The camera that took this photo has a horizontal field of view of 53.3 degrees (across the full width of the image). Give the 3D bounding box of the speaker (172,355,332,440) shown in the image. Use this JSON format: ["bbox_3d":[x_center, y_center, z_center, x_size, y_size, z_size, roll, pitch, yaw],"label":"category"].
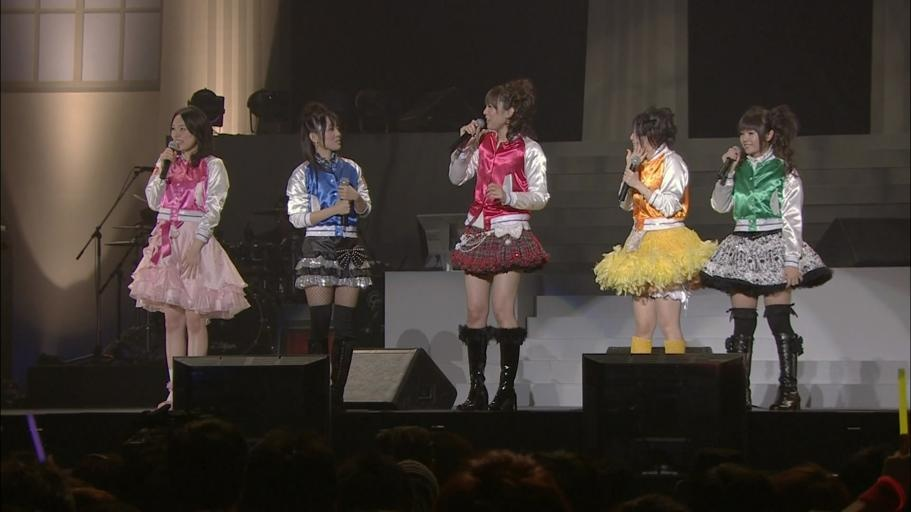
[{"bbox_3d":[-1.574,1.049,6.976,1.198,0.843,0.607,0,-1,3],"label":"speaker"}]

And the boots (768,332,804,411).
[{"bbox_3d":[2.709,0.936,7.440,0.224,0.623,0.450,1,0,20],"label":"boots"}]

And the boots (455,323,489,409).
[{"bbox_3d":[0.145,0.904,7.413,0.260,0.689,0.365,1,0,2],"label":"boots"}]

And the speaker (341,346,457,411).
[{"bbox_3d":[-0.483,1.040,7.576,0.651,0.372,0.601,-7,-3,35],"label":"speaker"}]

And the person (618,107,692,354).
[{"bbox_3d":[1.654,-0.242,7.583,0.528,2.032,0.501,1,0,9],"label":"person"}]

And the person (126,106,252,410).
[{"bbox_3d":[-2.303,-0.176,7.825,0.921,2.532,0.362,1,0,15],"label":"person"}]

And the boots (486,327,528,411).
[{"bbox_3d":[0.412,0.912,7.366,0.262,0.677,0.331,1,0,14],"label":"boots"}]
